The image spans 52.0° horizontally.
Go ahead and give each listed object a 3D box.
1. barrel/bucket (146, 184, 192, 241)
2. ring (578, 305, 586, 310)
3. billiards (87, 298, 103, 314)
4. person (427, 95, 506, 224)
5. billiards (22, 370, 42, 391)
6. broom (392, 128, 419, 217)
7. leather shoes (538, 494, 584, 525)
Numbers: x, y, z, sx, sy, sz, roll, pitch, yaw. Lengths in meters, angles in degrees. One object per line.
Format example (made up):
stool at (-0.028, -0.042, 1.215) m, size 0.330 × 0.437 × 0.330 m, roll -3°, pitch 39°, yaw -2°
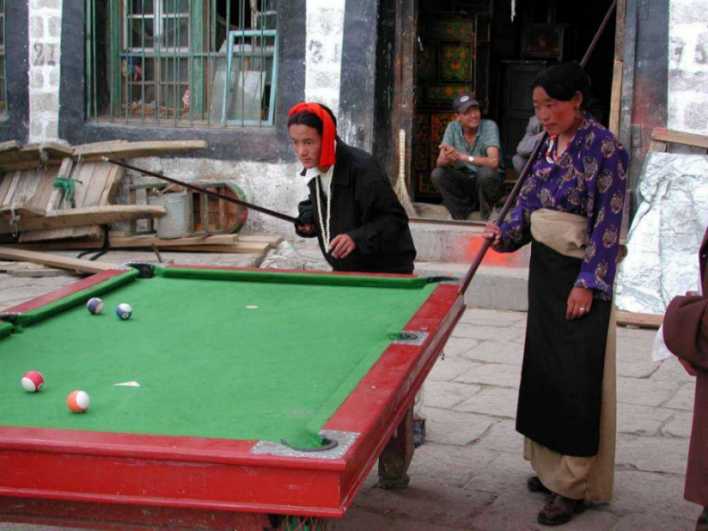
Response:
barrel/bucket at (-1.963, -0.539, 7.907) m, size 0.544 × 0.517 × 0.565 m, roll -3°, pitch 1°, yaw 0°
ring at (1.058, 0.192, 3.374) m, size 0.019 × 0.020 × 0.006 m, roll 0°, pitch 13°, yaw 3°
billiards at (-1.205, 0.187, 3.362) m, size 0.070 × 0.080 × 0.068 m, roll 0°, pitch -14°, yaw 4°
person at (1.221, -1.075, 7.688) m, size 0.716 × 1.357 × 0.675 m, roll 15°, pitch 20°, yaw 25°
billiards at (-1.131, 0.403, 2.542) m, size 0.069 × 0.072 × 0.082 m, roll -6°, pitch 15°, yaw -25°
broom at (0.519, -0.980, 7.869) m, size 0.270 × 1.056 × 0.257 m, roll 11°, pitch 20°, yaw 26°
leather shoes at (1.009, 1.181, 3.526) m, size 0.095 × 0.117 × 0.280 m, roll -7°, pitch -8°, yaw 39°
